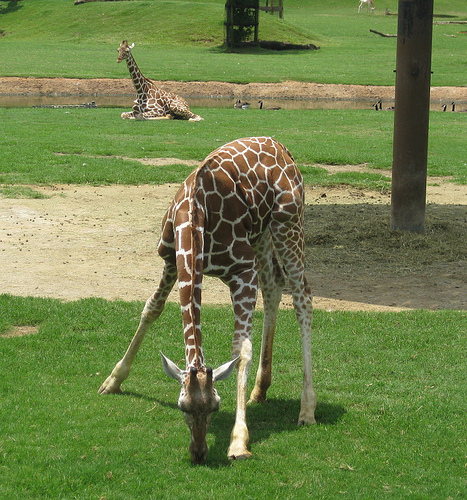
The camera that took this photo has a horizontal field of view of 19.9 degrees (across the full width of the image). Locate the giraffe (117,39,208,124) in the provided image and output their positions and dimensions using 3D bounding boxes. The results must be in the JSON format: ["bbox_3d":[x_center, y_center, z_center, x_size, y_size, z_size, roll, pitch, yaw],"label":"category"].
[{"bbox_3d":[-2.191,-4.810,39.290,2.767,2.437,1.742,-1,-6,-39],"label":"giraffe"}]

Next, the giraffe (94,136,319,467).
[{"bbox_3d":[-0.224,0.672,18.839,1.839,4.149,6.192,0,5,25],"label":"giraffe"}]
